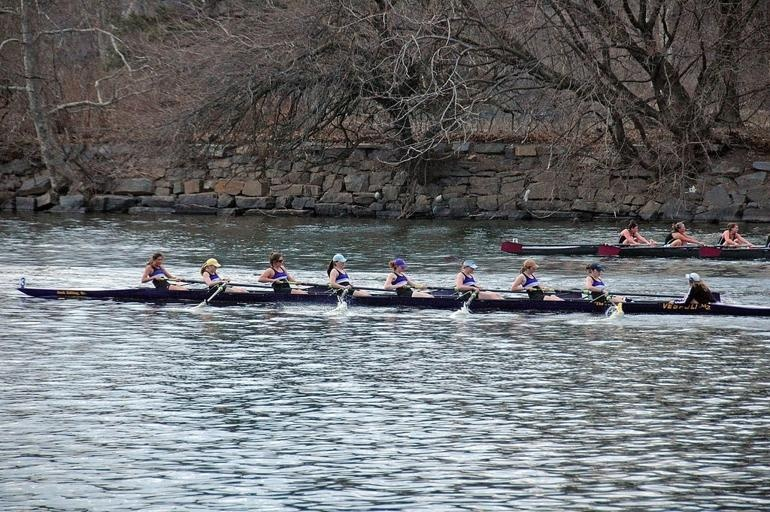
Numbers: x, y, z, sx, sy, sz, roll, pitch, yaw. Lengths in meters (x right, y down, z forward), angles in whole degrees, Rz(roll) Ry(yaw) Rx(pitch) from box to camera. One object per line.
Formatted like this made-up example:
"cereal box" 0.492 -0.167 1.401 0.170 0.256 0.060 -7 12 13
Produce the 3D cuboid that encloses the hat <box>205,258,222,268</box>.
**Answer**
"hat" -4.872 0.173 38.836 0.543 0.197 0.323 0 9 -4

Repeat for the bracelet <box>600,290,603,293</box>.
"bracelet" 5.949 0.941 37.756 0.118 0.075 0.028 -2 -6 7

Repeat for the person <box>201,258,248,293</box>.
"person" -4.639 0.564 38.659 1.390 0.518 1.144 3 12 11

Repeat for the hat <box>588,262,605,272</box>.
"hat" 6.090 0.298 39.646 0.609 0.205 0.320 5 6 22

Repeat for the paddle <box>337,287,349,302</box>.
"paddle" -1.135 1.072 38.167 0.307 0.408 0.192 3 10 0

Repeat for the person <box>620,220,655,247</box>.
"person" 8.625 -0.715 46.385 1.549 0.932 0.703 -1 22 15

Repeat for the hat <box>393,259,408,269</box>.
"hat" 0.447 0.218 38.580 0.416 0.148 0.241 0 16 -6

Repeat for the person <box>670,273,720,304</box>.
"person" 8.451 0.873 37.324 1.285 0.846 0.426 3 10 4

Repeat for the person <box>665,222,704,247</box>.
"person" 9.789 -0.782 45.619 1.398 0.770 0.769 -1 21 2

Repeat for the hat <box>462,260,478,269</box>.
"hat" 2.386 0.241 38.321 0.461 0.162 0.273 1 12 0

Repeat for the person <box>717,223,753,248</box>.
"person" 11.719 -0.720 45.345 1.461 0.886 0.760 1 13 7

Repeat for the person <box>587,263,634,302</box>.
"person" 6.012 0.711 37.755 1.190 1.016 0.607 8 11 37

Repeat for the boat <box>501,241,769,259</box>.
"boat" 8.442 -0.214 45.686 5.380 0.370 0.605 2 0 19

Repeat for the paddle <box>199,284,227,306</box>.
"paddle" -4.758 1.091 38.348 1.012 0.148 0.146 -31 25 -15

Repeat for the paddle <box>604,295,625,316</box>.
"paddle" 6.291 1.357 37.463 0.565 0.526 0.446 1 9 -6
